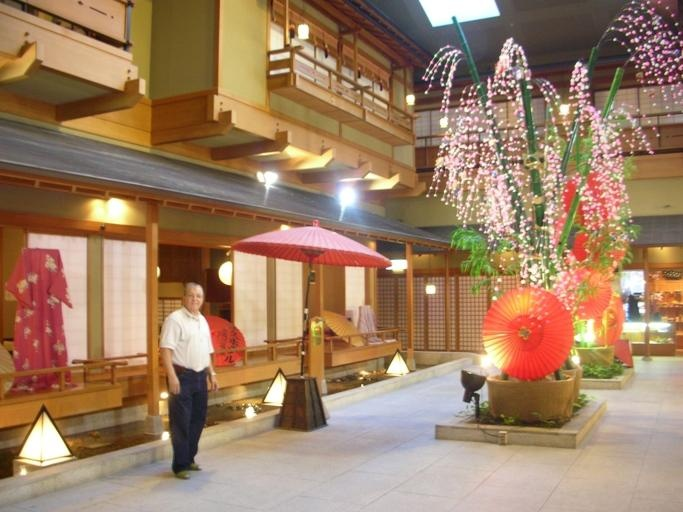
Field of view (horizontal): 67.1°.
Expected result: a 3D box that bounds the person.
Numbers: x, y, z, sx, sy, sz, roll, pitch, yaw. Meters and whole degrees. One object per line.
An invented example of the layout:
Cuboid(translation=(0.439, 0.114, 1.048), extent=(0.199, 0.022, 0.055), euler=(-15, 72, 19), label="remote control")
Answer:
Cuboid(translation=(-1.580, 1.258, 5.282), extent=(0.352, 1.934, 0.598), euler=(-9, -6, 44), label="person")

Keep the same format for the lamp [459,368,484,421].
Cuboid(translation=(1.758, 1.820, 6.772), extent=(0.325, 0.632, 0.555), euler=(-5, -5, 14), label="lamp")

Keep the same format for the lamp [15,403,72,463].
Cuboid(translation=(-3.126, 1.951, 5.683), extent=(0.627, 0.525, 0.573), euler=(-2, -7, 5), label="lamp")

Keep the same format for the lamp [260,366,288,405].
Cuboid(translation=(-1.063, 2.183, 8.419), extent=(0.396, 0.575, 0.359), euler=(8, -29, -5), label="lamp")

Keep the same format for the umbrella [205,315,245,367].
Cuboid(translation=(-2.057, 1.519, 9.140), extent=(0.269, 0.796, 0.963), euler=(-10, -7, 43), label="umbrella")

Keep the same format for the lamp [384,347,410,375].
Cuboid(translation=(1.267, 2.438, 11.839), extent=(0.505, 0.547, 0.507), euler=(-1, 0, -14), label="lamp")

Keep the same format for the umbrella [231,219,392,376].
Cuboid(translation=(-0.345, 0.670, 7.780), extent=(1.883, 2.313, 2.214), euler=(-6, -5, 19), label="umbrella")

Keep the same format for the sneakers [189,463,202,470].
Cuboid(translation=(-1.518, 2.184, 5.333), extent=(0.116, 0.041, 0.055), euler=(-2, 1, 19), label="sneakers")
